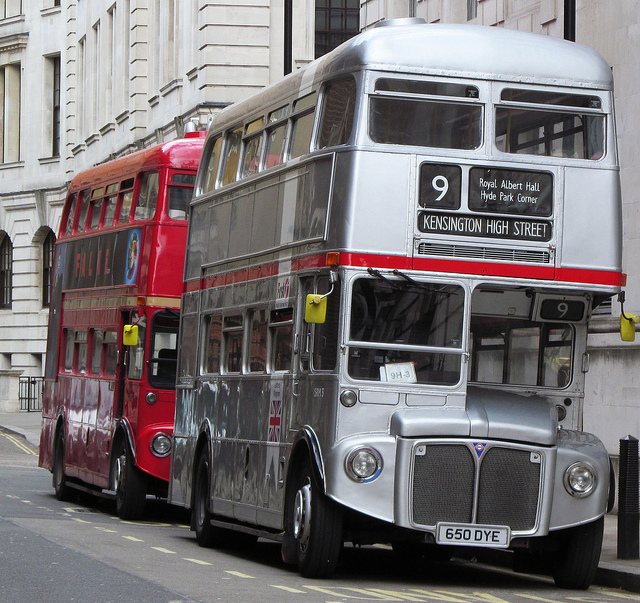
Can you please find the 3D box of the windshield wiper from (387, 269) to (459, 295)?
[{"bbox_3d":[0.857,-0.168,8.406,0.393,0.087,0.081,16,-18,-7],"label":"windshield wiper"}]

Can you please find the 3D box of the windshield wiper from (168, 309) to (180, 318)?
[{"bbox_3d":[-2.169,0.183,14.658,0.144,0.043,0.022,39,20,-2],"label":"windshield wiper"}]

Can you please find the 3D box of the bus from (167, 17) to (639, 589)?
[{"bbox_3d":[0.741,0.219,9.543,4.626,7.451,2.118,-2,-5,36],"label":"bus"}]

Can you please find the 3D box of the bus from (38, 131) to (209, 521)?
[{"bbox_3d":[-3.378,0.502,17.873,2.159,5.975,8.147,4,-4,-26],"label":"bus"}]

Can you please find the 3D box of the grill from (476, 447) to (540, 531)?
[{"bbox_3d":[1.569,1.581,8.174,0.525,0.680,0.153,4,-5,-23],"label":"grill"}]

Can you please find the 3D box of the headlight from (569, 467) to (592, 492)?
[{"bbox_3d":[2.237,1.550,8.434,0.219,0.198,0.056,6,-6,-31],"label":"headlight"}]
